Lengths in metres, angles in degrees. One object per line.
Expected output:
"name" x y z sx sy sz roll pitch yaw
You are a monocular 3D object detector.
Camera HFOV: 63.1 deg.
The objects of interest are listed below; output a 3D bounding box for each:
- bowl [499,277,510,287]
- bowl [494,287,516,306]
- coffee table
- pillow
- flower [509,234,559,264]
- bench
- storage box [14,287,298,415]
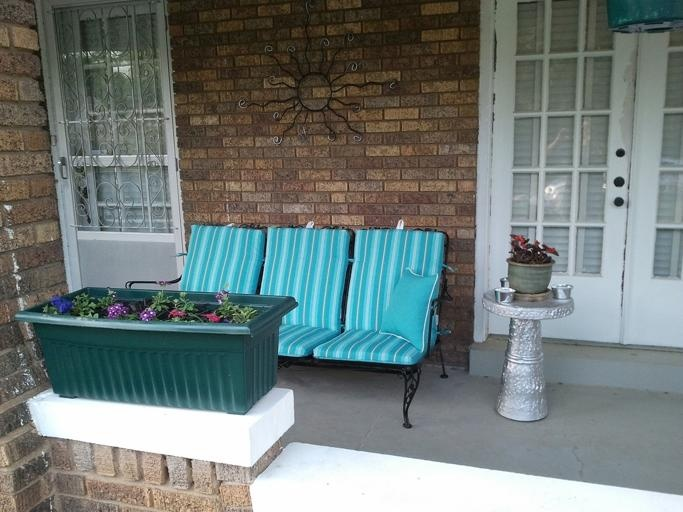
"bowl" 1.018 0.164 3.481 0.098 0.066 0.072 2 3 17
"bowl" 0.967 0.237 3.303 0.095 0.068 0.109 3 1 24
"coffee table" 1.151 0.592 3.529 0.531 0.777 0.517 6 11 24
"pillow" 0.433 0.316 3.438 0.131 0.400 0.429 19 -8 -33
"flower" 1.151 -0.025 3.378 0.260 0.101 0.276 -6 9 -42
"bench" -0.033 0.416 4.028 2.512 1.217 1.421 5 9 22
"storage box" -0.554 0.293 1.775 0.769 0.300 0.351 1 12 12
